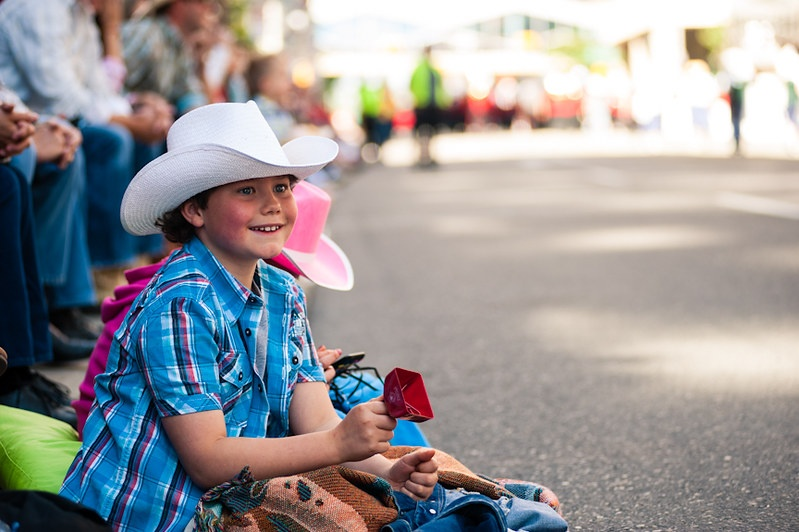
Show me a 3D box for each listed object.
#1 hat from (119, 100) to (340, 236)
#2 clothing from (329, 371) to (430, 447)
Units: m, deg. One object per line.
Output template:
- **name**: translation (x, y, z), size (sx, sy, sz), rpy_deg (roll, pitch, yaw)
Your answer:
- **hat**: translation (-0.692, -0.327, 3.107), size (0.559, 0.247, 0.504), rpy_deg (-20, -6, 4)
- **clothing**: translation (-0.072, 0.508, 3.579), size (0.140, 0.296, 0.345), rpy_deg (-44, 47, -11)
